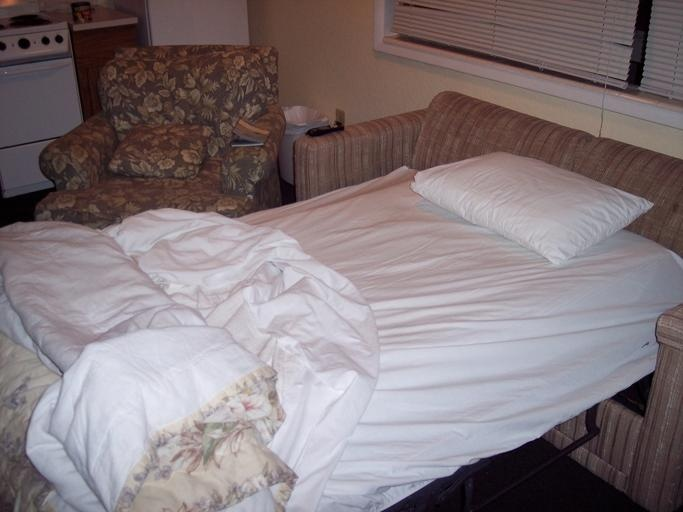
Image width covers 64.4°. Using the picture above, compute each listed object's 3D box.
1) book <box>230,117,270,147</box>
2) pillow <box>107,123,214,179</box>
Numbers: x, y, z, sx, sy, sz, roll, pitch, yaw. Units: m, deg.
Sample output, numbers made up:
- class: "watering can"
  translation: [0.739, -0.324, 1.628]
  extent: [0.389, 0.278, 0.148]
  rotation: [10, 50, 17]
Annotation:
- class: "book"
  translation: [-0.501, -0.668, 2.982]
  extent: [0.204, 0.094, 0.266]
  rotation: [1, 27, -2]
- class: "pillow"
  translation: [-1.070, -0.685, 3.263]
  extent: [0.589, 0.123, 0.671]
  rotation: [-10, 9, 44]
